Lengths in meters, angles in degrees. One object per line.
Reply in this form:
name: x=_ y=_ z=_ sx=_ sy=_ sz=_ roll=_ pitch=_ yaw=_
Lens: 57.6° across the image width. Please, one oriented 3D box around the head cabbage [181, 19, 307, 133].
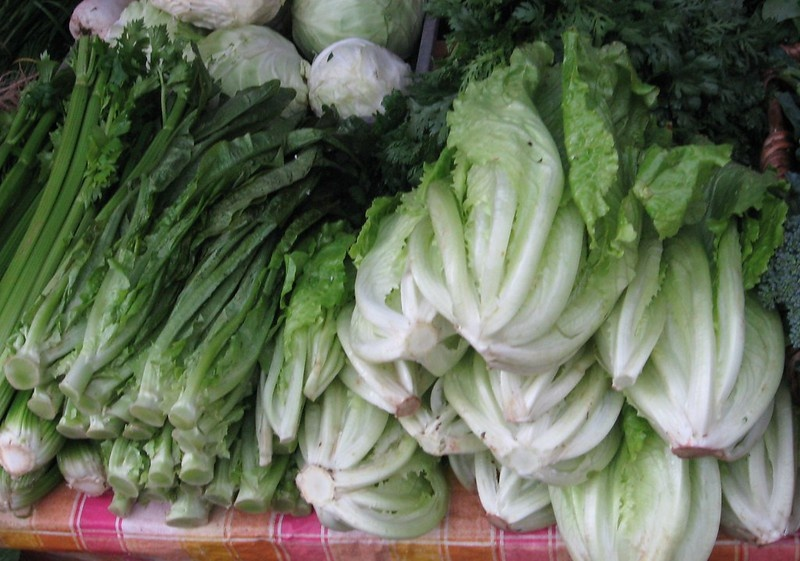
head cabbage: x=-0.838 y=-1.091 z=3.981 sx=0.569 sy=0.360 sz=0.547 roll=33 pitch=5 yaw=37
